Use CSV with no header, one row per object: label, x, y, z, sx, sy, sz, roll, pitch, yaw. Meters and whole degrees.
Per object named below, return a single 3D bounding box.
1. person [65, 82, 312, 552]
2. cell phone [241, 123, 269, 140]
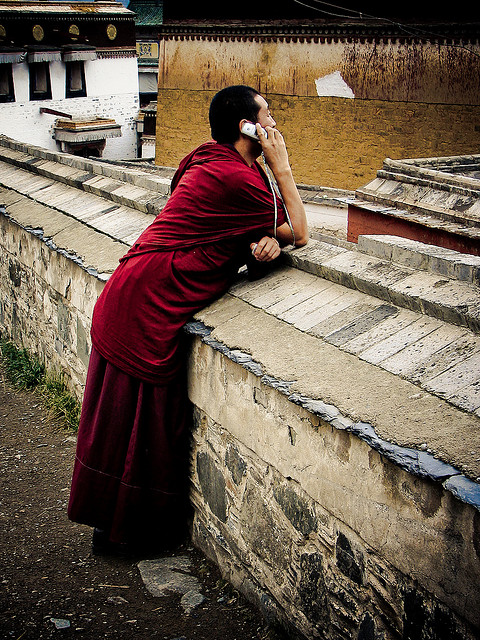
person,-0.254,0.094,2.281,1.062,2.123,0.427,0,9,7
cell phone,0.064,-0.756,2.073,0.106,0.063,0.043,-2,9,0
